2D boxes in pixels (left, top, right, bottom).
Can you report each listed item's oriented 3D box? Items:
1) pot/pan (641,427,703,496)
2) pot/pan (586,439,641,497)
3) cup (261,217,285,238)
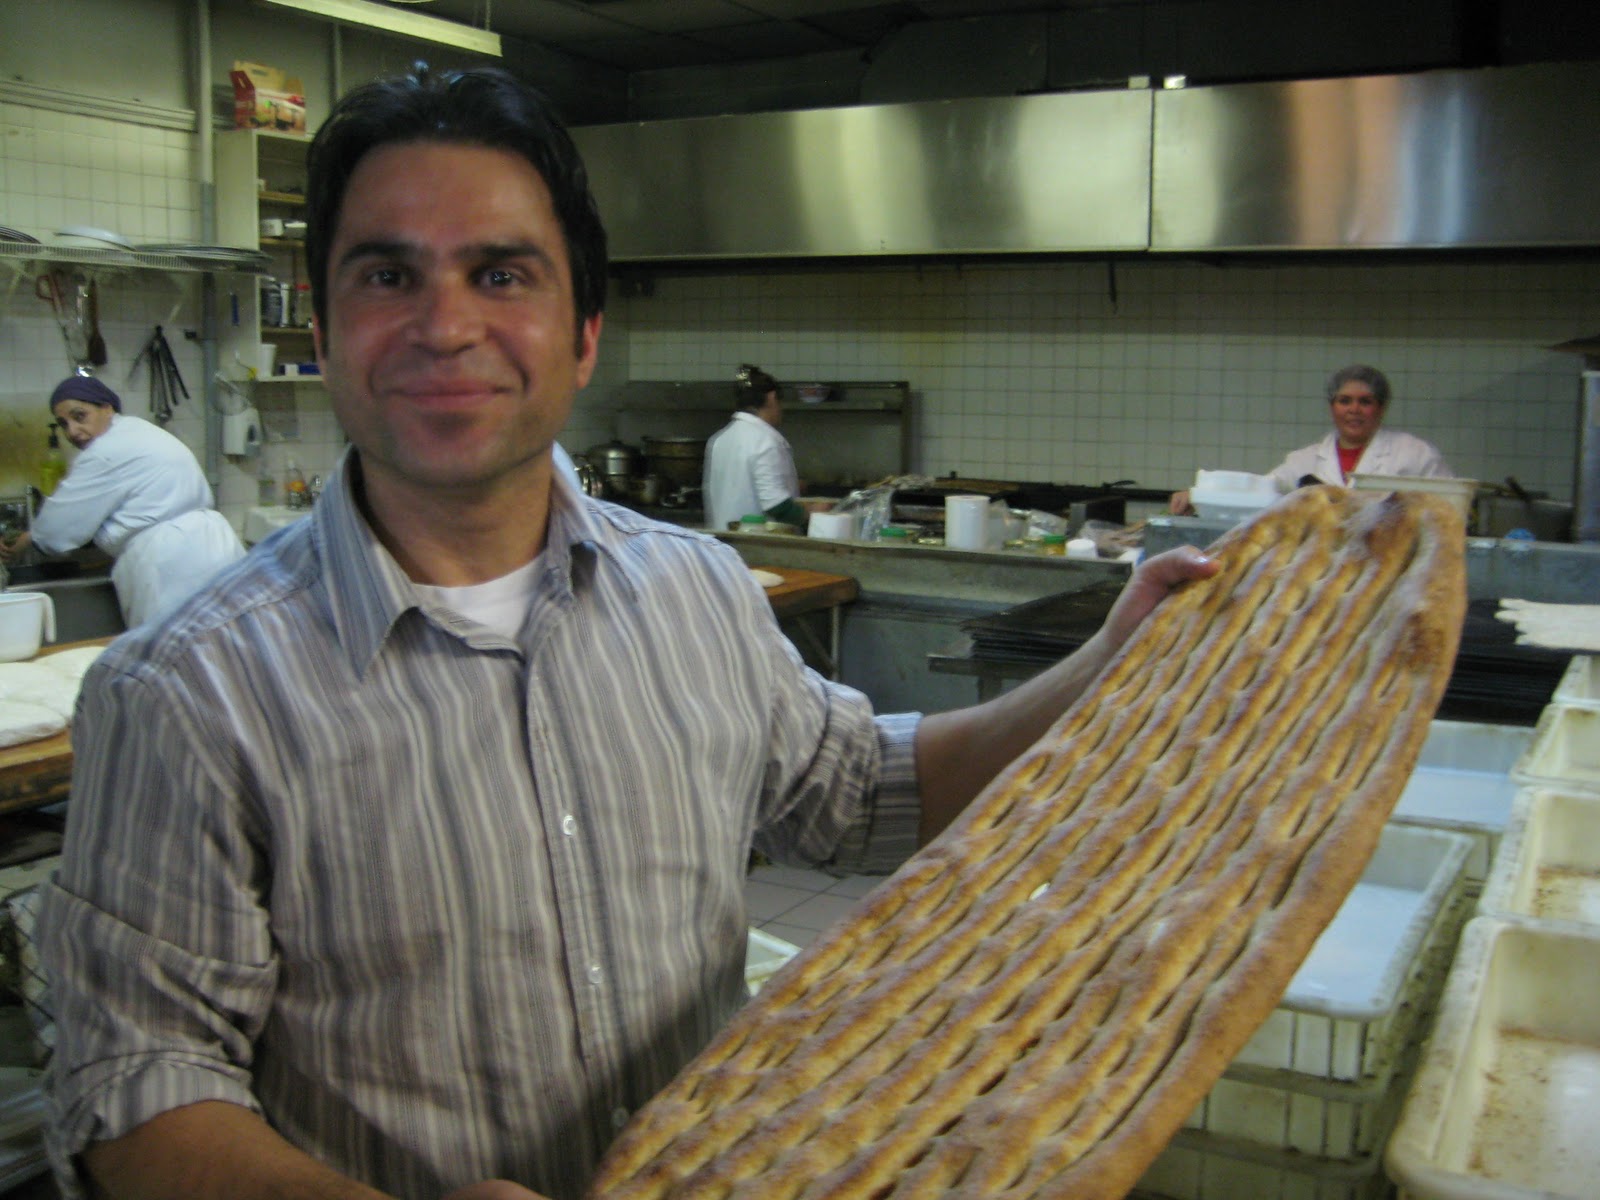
[{"bbox_3d":[-0.719,-0.807,7.614,0.440,0.448,0.417,0,0,-7],"label":"pot/pan"},{"bbox_3d":[-0.930,-0.645,6.747,0.196,0.145,0.317,1,-2,-13],"label":"pot/pan"},{"bbox_3d":[-2.501,-1.736,6.291,0.099,0.071,0.096,0,10,0],"label":"cup"}]
